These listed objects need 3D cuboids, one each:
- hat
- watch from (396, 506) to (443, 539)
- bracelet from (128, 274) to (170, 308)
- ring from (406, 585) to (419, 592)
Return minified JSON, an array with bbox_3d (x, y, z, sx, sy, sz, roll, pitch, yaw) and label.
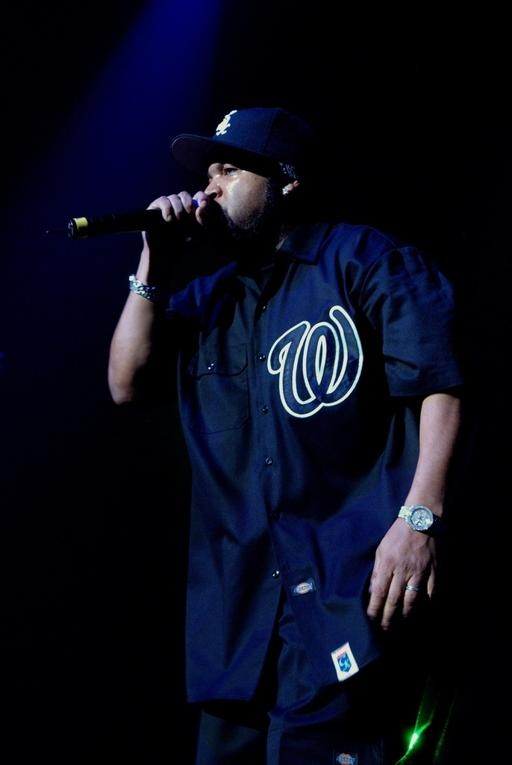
[{"bbox_3d":[-0.026,-0.511,1.611,0.245,0.123,0.161,20,2,-3],"label":"hat"},{"bbox_3d":[0.257,0.213,1.210,0.066,0.040,0.034,12,14,15],"label":"watch"},{"bbox_3d":[-0.229,-0.205,1.657,0.055,0.035,0.072,41,11,33],"label":"bracelet"},{"bbox_3d":[0.239,0.313,1.181,0.011,0.008,0.011,2,3,0],"label":"ring"}]
